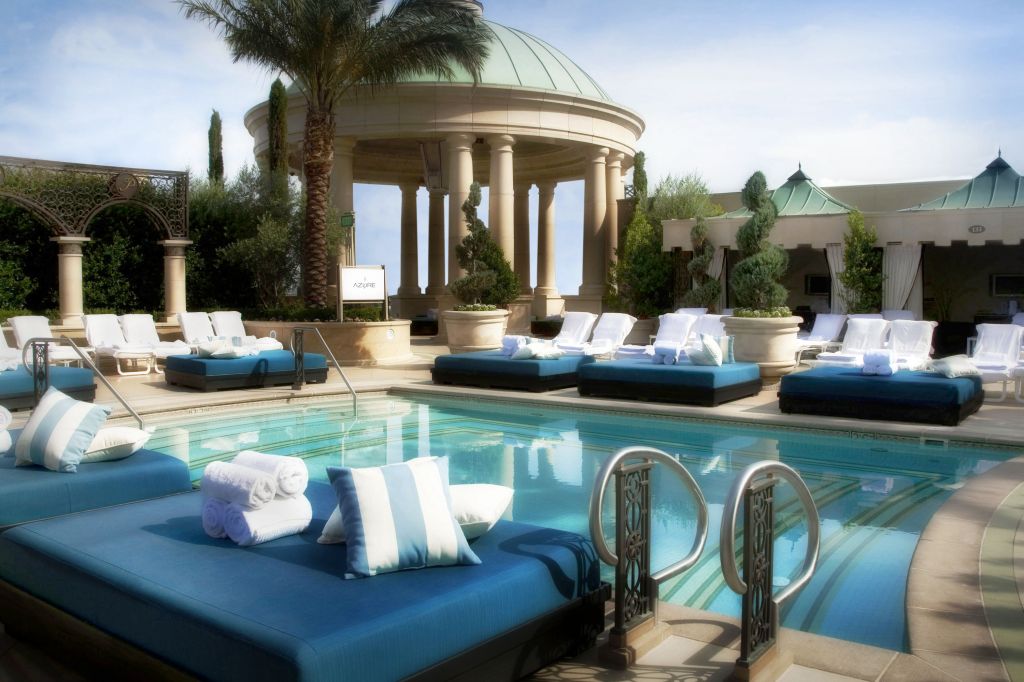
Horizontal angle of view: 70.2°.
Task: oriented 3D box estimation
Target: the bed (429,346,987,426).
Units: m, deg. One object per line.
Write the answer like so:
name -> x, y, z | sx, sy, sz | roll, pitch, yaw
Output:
bed -> 3.216, 0.579, 13.813 | 9.702, 0.940, 2.824 | 4, 9, 28

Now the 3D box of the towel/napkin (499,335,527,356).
towel/napkin -> 0.065, 0.073, 14.846 | 0.406, 0.312, 0.409 | 0, 1, 40

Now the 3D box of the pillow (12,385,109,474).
pillow -> -3.776, 0.842, 6.303 | 0.683, 0.641, 0.210 | 18, -29, 25
